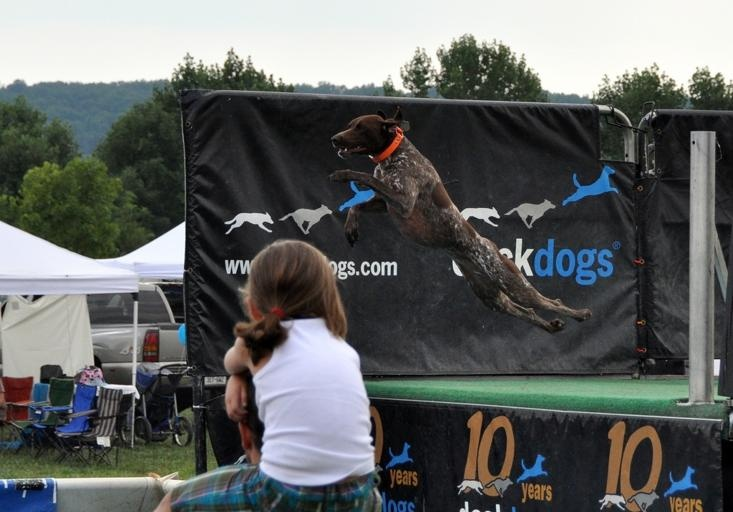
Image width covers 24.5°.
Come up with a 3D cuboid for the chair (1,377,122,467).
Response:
[{"bbox_3d":[-5.910,3.370,33.976,1.928,1.674,1.286,0,-2,-7],"label":"chair"}]
